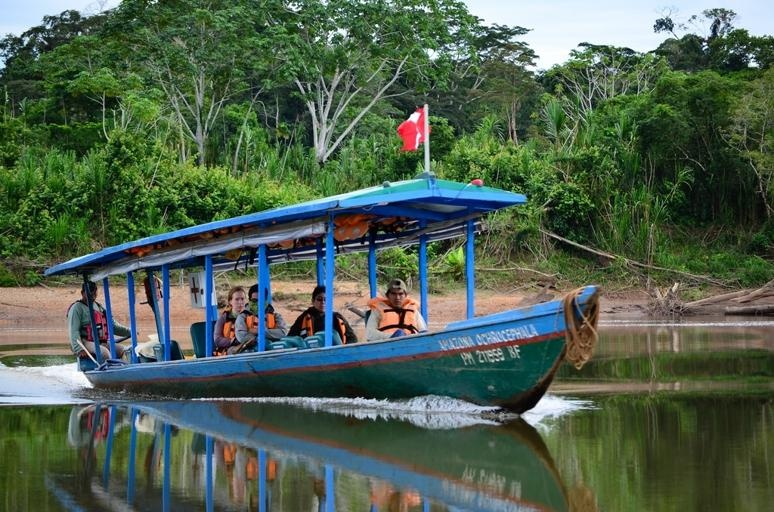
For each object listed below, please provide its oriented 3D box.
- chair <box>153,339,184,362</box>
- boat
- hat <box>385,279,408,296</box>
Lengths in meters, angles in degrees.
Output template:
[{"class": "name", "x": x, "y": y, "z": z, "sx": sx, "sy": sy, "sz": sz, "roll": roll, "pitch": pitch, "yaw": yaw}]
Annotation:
[{"class": "chair", "x": -5.578, "y": 2.420, "z": 26.190, "sx": 0.495, "sy": 0.624, "sz": 0.603, "roll": -1, "pitch": 5, "yaw": 5}, {"class": "boat", "x": -1.818, "y": -0.227, "z": 30.294, "sx": 16.156, "sy": 5.952, "sz": 13.142, "roll": 1, "pitch": 13, "yaw": 12}, {"class": "hat", "x": 0.241, "y": 0.755, "z": 24.650, "sx": 0.360, "sy": 0.284, "sz": 0.489, "roll": 0, "pitch": 9, "yaw": -4}]
